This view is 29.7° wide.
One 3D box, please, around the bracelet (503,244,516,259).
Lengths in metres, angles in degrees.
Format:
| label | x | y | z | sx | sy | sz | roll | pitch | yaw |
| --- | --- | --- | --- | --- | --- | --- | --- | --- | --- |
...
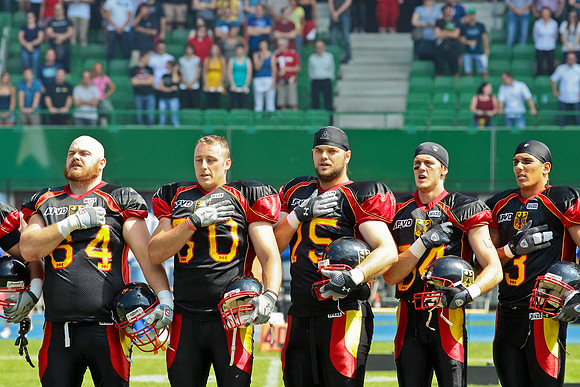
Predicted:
| label | x | y | z | sx | sy | sz | roll | pitch | yaw |
| --- | --- | --- | --- | --- | --- | --- | --- | --- | --- |
| bracelet | 4.209 | 1.150 | 21.113 | 0.228 | 0.172 | 0.235 | 15 | 21 | -8 |

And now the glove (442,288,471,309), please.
| label | x | y | z | sx | sy | sz | roll | pitch | yaw |
| --- | --- | --- | --- | --- | --- | --- | --- | --- | --- |
| glove | 3.073 | 1.998 | 20.420 | 0.356 | 0.258 | 0.478 | -4 | -10 | 32 |

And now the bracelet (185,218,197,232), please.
| label | x | y | z | sx | sy | sz | roll | pitch | yaw |
| --- | --- | --- | --- | --- | --- | --- | --- | --- | --- |
| bracelet | -1.880 | 0.588 | 20.180 | 0.087 | 0.224 | 0.188 | -46 | 22 | -24 |

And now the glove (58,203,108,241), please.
| label | x | y | z | sx | sy | sz | roll | pitch | yaw |
| --- | --- | --- | --- | --- | --- | --- | --- | --- | --- |
| glove | -3.899 | 0.529 | 20.241 | 0.809 | 0.510 | 0.351 | -36 | -3 | -11 |

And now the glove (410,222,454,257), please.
| label | x | y | z | sx | sy | sz | roll | pitch | yaw |
| --- | --- | --- | --- | --- | --- | --- | --- | --- | --- |
| glove | 2.635 | 0.827 | 20.783 | 0.825 | 0.531 | 0.256 | -24 | 29 | 0 |

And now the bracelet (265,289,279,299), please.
| label | x | y | z | sx | sy | sz | roll | pitch | yaw |
| --- | --- | --- | --- | --- | --- | --- | --- | --- | --- |
| bracelet | -0.372 | 1.888 | 20.104 | 0.188 | 0.150 | 0.147 | 21 | 3 | -23 |

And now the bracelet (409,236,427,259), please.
| label | x | y | z | sx | sy | sz | roll | pitch | yaw |
| --- | --- | --- | --- | --- | --- | --- | --- | --- | --- |
| bracelet | 2.408 | 1.055 | 20.657 | 0.245 | 0.333 | 0.211 | 32 | 8 | -37 |

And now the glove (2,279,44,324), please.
| label | x | y | z | sx | sy | sz | roll | pitch | yaw |
| --- | --- | --- | --- | --- | --- | --- | --- | --- | --- |
| glove | -5.084 | 2.059 | 20.701 | 0.853 | 0.510 | 0.645 | -10 | 28 | -15 |

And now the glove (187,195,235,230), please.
| label | x | y | z | sx | sy | sz | roll | pitch | yaw |
| --- | --- | --- | --- | --- | --- | --- | --- | --- | --- |
| glove | -1.481 | 0.384 | 20.211 | 0.696 | 0.516 | 0.178 | -25 | -17 | -15 |

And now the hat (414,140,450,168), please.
| label | x | y | z | sx | sy | sz | roll | pitch | yaw |
| --- | --- | --- | --- | --- | --- | --- | --- | --- | --- |
| hat | 2.789 | -0.753 | 21.105 | 0.551 | 0.345 | 0.542 | 30 | -11 | -38 |

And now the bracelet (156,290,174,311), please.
| label | x | y | z | sx | sy | sz | roll | pitch | yaw |
| --- | --- | --- | --- | --- | --- | --- | --- | --- | --- |
| bracelet | -2.353 | 2.010 | 20.318 | 0.346 | 0.324 | 0.283 | 18 | -22 | -30 |

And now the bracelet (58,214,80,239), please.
| label | x | y | z | sx | sy | sz | roll | pitch | yaw |
| --- | --- | --- | --- | --- | --- | --- | --- | --- | --- |
| bracelet | -4.145 | 0.634 | 20.212 | 0.441 | 0.295 | 0.192 | -27 | 25 | 3 |

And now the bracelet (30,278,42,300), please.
| label | x | y | z | sx | sy | sz | roll | pitch | yaw |
| --- | --- | --- | --- | --- | --- | --- | --- | --- | --- |
| bracelet | -4.852 | 1.821 | 20.661 | 0.148 | 0.376 | 0.264 | -1 | 10 | -42 |

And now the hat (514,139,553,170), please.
| label | x | y | z | sx | sy | sz | roll | pitch | yaw |
| --- | --- | --- | --- | --- | --- | --- | --- | --- | --- |
| hat | 4.841 | -0.750 | 21.509 | 0.485 | 0.513 | 0.640 | 10 | 9 | 37 |

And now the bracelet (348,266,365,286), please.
| label | x | y | z | sx | sy | sz | roll | pitch | yaw |
| --- | --- | --- | --- | --- | --- | --- | --- | --- | --- |
| bracelet | 1.217 | 1.551 | 20.146 | 0.189 | 0.333 | 0.118 | -13 | 3 | 6 |

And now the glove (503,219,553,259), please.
| label | x | y | z | sx | sy | sz | roll | pitch | yaw |
| --- | --- | --- | --- | --- | --- | --- | --- | --- | --- |
| glove | 4.628 | 0.914 | 21.130 | 0.931 | 0.271 | 0.686 | -11 | 39 | 18 |

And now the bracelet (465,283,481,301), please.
| label | x | y | z | sx | sy | sz | roll | pitch | yaw |
| --- | --- | --- | --- | --- | --- | --- | --- | --- | --- |
| bracelet | 3.435 | 1.860 | 20.443 | 0.214 | 0.313 | 0.108 | -5 | 5 | -8 |

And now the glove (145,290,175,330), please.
| label | x | y | z | sx | sy | sz | roll | pitch | yaw |
| --- | --- | --- | --- | --- | --- | --- | --- | --- | --- |
| glove | -2.417 | 2.206 | 20.548 | 0.758 | 0.616 | 0.610 | -2 | -5 | 23 |

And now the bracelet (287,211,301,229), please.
| label | x | y | z | sx | sy | sz | roll | pitch | yaw |
| --- | --- | --- | --- | --- | --- | --- | --- | --- | --- |
| bracelet | 0.029 | 0.532 | 20.672 | 0.264 | 0.319 | 0.240 | -7 | -8 | -45 |
